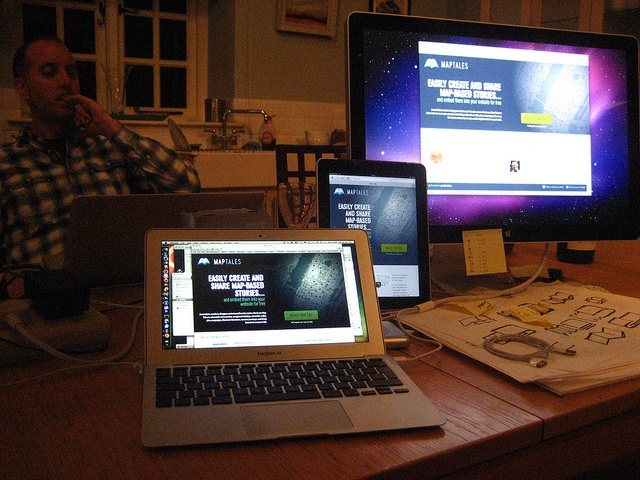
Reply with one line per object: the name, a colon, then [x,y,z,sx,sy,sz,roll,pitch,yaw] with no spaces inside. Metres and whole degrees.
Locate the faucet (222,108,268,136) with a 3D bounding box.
faucet: [-0.498,-0.794,3.539,0.303,0.184,0.420,-2,12,-6]

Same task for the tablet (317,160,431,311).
tablet: [0.090,-0.003,0.950,0.288,0.347,0.027,2,-8,-20]

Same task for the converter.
converter: [-0.437,0.064,0.855,0.073,0.053,0.112,-4,21,-33]

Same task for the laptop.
laptop: [-0.018,0.077,0.919,0.532,0.247,0.490,-1,10,-13]

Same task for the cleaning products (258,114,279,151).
cleaning products: [-0.356,-0.730,3.542,0.115,0.248,0.107,4,35,2]
